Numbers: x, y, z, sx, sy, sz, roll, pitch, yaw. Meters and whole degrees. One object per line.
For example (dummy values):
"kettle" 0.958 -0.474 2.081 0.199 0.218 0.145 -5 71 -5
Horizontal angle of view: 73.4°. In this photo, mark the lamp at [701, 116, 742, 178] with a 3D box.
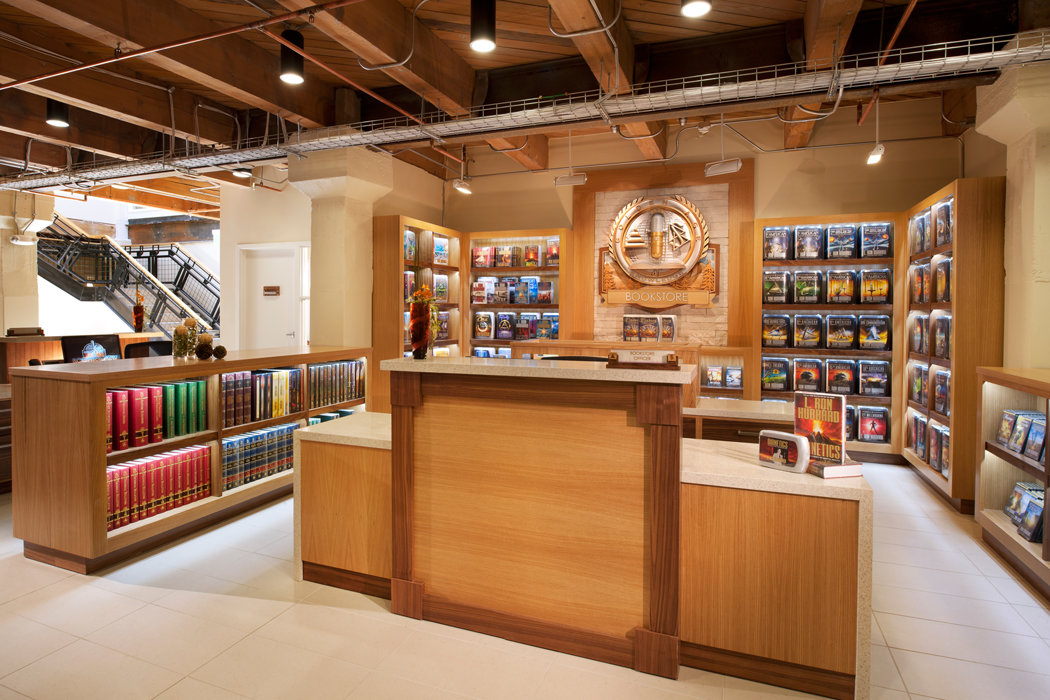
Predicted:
"lamp" 2.379 -2.471 8.522 0.411 0.840 1.527 0 4 15

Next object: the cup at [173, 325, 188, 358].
"cup" -3.298 -0.086 6.736 0.123 0.292 0.233 -3 4 -26

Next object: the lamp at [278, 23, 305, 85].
"lamp" -2.273 -2.872 6.854 0.217 0.540 0.757 -3 4 -19
